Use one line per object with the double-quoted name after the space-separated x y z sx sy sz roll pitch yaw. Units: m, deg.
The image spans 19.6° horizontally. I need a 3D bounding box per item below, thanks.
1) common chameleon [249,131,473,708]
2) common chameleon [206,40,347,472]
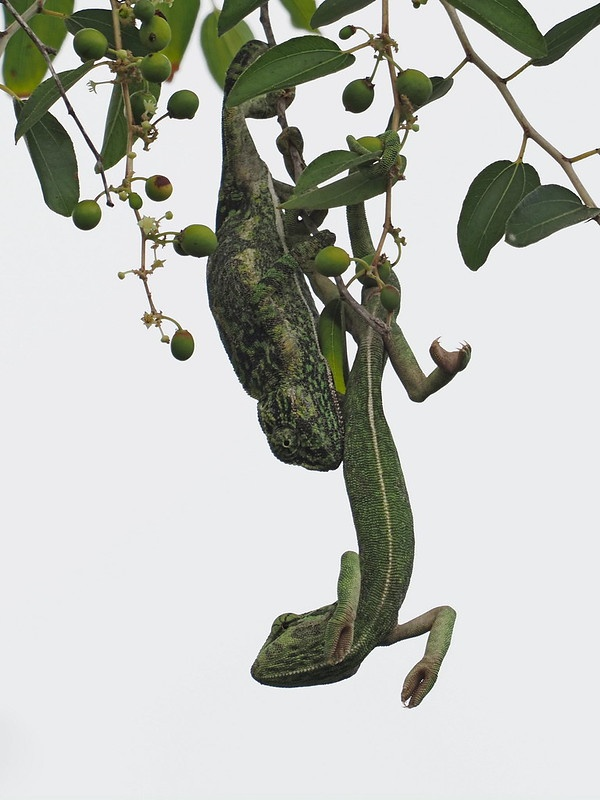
0.085 0.061 2.296 0.241 0.814 0.150 -1 -9 28 "common chameleon"
-0.058 -0.203 2.413 0.213 0.215 0.673 -11 -53 -7 "common chameleon"
